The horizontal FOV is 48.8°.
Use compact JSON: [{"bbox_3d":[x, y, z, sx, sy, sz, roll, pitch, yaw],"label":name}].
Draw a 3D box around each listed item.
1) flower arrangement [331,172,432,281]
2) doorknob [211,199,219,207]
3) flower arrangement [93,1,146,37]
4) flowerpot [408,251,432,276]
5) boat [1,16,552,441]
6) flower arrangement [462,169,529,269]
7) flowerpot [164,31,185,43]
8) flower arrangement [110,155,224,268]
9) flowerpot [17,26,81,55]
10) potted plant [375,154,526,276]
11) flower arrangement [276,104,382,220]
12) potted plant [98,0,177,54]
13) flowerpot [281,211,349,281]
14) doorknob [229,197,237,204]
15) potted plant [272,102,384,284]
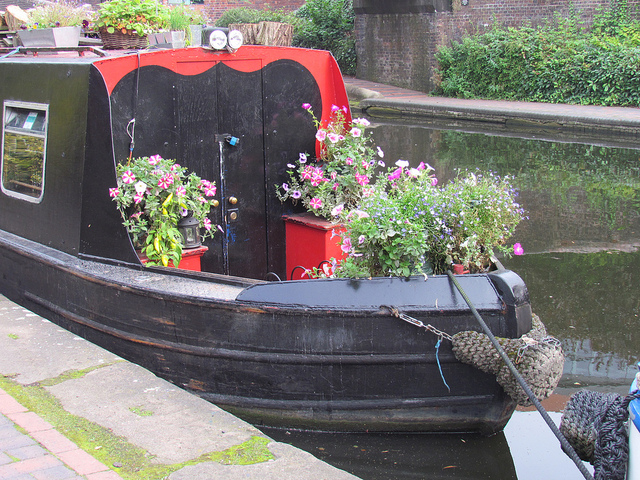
[{"bbox_3d":[0.502,-0.015,5.490,0.686,0.592,0.358,2,12,12],"label":"flower arrangement"},{"bbox_3d":[-0.983,-0.341,6.629,0.046,0.069,0.064,0,19,-14],"label":"doorknob"},{"bbox_3d":[-1.944,-2.177,6.886,0.366,0.221,0.363,-2,29,-19],"label":"flower arrangement"},{"bbox_3d":[0.789,0.180,5.464,0.167,0.196,0.176,-1,3,-7],"label":"flowerpot"},{"bbox_3d":[-1.240,-0.529,7.065,2.579,2.890,6.699,-14,22,-41],"label":"boat"},{"bbox_3d":[1.444,-0.125,5.896,0.468,0.809,0.906,2,12,15],"label":"flower arrangement"},{"bbox_3d":[-1.354,-1.866,6.633,0.126,0.086,0.132,7,11,43],"label":"flowerpot"},{"bbox_3d":[-1.308,-0.250,6.112,0.651,0.835,0.579,-14,-25,39],"label":"flower arrangement"},{"bbox_3d":[-2.696,-2.008,7.097,0.363,0.213,0.562,-9,9,-42],"label":"flowerpot"},{"bbox_3d":[1.139,-0.142,6.003,1.256,0.925,1.176,-9,10,-28],"label":"potted plant"},{"bbox_3d":[0.035,-0.735,6.913,0.786,1.146,0.819,21,23,39],"label":"flower arrangement"},{"bbox_3d":[-1.857,-2.099,6.938,0.742,0.481,0.719,-2,6,-17],"label":"potted plant"},{"bbox_3d":[-0.075,-0.009,7.086,0.569,0.816,0.787,-5,9,-33],"label":"flowerpot"},{"bbox_3d":[-0.836,-0.377,6.831,0.046,0.059,0.056,6,2,20],"label":"doorknob"},{"bbox_3d":[0.107,-0.691,7.133,0.652,1.457,0.701,13,-8,17],"label":"potted plant"}]
